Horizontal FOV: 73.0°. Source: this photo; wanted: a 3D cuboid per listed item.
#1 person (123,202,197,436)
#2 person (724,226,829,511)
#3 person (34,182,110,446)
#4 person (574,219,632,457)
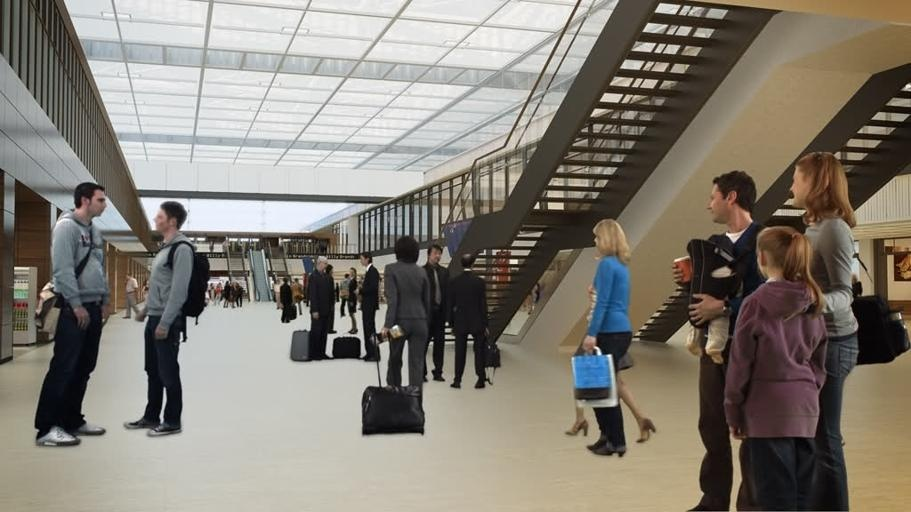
[{"bbox_3d":[-4.099,0.838,8.637,0.802,3.228,0.926,-1,2,-27],"label":"person"},{"bbox_3d":[3.028,1.089,5.784,0.931,2.699,0.249,0,2,-4],"label":"person"},{"bbox_3d":[-5.056,0.743,8.164,0.638,3.427,0.724,1,2,15],"label":"person"},{"bbox_3d":[1.927,1.044,7.824,0.546,3.005,0.804,1,2,15],"label":"person"}]
